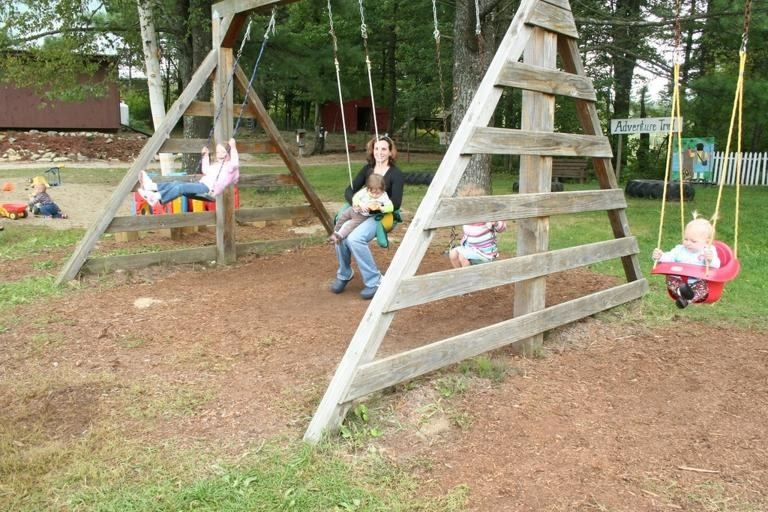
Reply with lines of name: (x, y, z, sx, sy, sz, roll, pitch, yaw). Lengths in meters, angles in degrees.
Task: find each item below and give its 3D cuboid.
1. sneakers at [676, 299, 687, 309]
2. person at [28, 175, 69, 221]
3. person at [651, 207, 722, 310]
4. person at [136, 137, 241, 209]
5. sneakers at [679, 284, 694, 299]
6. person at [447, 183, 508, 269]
sneakers: (3.072, 0.485, 6.269, 0.106, 0.115, 0.159, 3, 12, 21)
person: (-6.667, -1.162, 11.971, 1.202, 0.774, 0.522, 7, 14, 36)
person: (3.154, 0.059, 6.350, 0.705, 0.887, 0.631, -1, 11, 20)
person: (-2.553, -1.151, 8.188, 1.366, 0.826, 0.818, -6, 30, -24)
sneakers: (3.072, 0.363, 6.160, 0.140, 0.151, 0.057, -3, 12, -6)
person: (0.997, -0.249, 6.887, 0.638, 1.072, 0.865, 0, 0, -43)
